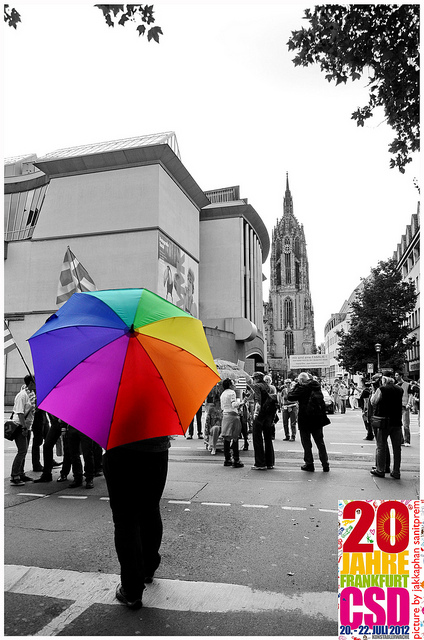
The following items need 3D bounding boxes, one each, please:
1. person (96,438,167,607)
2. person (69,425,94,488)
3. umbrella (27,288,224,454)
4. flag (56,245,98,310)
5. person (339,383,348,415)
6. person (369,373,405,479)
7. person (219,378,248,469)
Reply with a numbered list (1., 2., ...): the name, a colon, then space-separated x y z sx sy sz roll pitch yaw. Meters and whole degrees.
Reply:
1. person: -0.547 1.491 4.673 0.385 1.176 0.590 -6 -12 30
2. person: -1.864 1.832 8.890 0.298 0.283 1.234 2 -56 7
3. umbrella: -0.663 0.252 4.747 1.303 1.506 0.533 -6 -47 -25
4. flag: -4.142 -1.442 18.847 1.330 0.219 2.833 -16 -33 -15
5. person: 6.017 3.592 28.487 0.295 1.422 1.071 -3 -11 12
6. person: 2.759 1.638 9.743 0.495 1.640 0.684 -4 -11 19
7. person: 0.363 1.779 10.798 0.385 1.544 0.526 -1 -10 1
